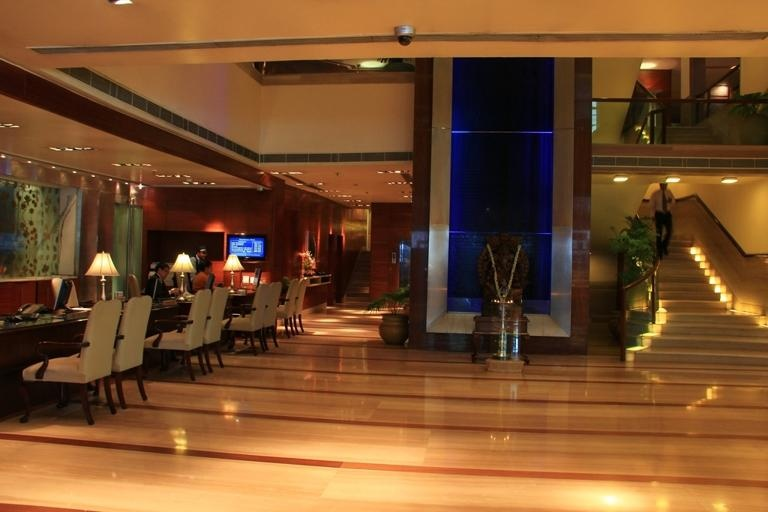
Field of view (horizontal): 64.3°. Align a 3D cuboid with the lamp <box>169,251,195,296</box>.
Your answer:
[{"bbox_3d":[-3.887,0.386,11.888,0.629,0.815,0.620,5,-6,-42],"label":"lamp"}]

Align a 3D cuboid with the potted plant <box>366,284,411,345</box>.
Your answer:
[{"bbox_3d":[0.213,1.214,12.481,1.187,1.140,1.130,4,-7,-12],"label":"potted plant"}]

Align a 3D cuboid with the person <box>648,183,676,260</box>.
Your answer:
[{"bbox_3d":[5.885,-0.765,12.952,0.453,1.603,1.350,0,0,23],"label":"person"}]

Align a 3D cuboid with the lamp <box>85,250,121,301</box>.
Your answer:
[{"bbox_3d":[-4.276,0.333,9.340,0.521,0.732,0.530,-7,-8,33],"label":"lamp"}]

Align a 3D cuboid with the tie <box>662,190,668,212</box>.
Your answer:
[{"bbox_3d":[5.880,-1.140,12.825,0.114,0.416,0.074,0,0,24],"label":"tie"}]

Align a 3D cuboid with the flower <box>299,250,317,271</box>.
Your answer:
[{"bbox_3d":[-2.118,0.128,17.166,0.431,0.507,0.319,-4,6,1],"label":"flower"}]
